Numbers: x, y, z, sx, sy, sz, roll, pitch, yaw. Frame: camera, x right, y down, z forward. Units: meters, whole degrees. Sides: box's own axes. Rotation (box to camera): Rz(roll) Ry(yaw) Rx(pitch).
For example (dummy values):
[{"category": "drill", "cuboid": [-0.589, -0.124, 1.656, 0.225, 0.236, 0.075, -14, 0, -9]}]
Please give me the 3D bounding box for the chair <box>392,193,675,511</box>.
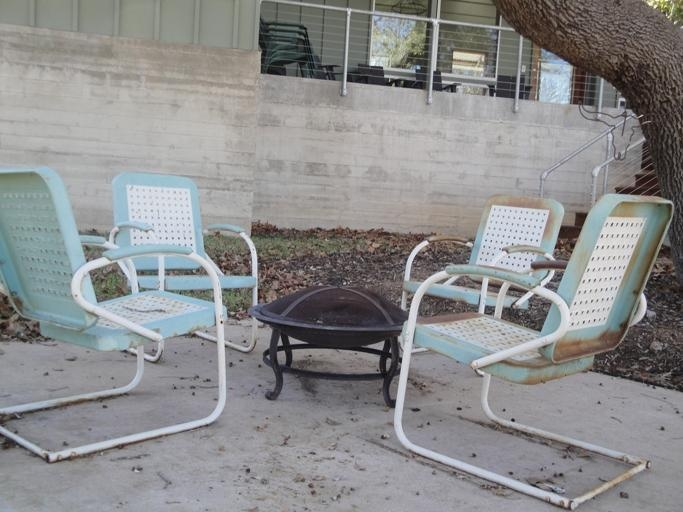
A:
[{"category": "chair", "cuboid": [1.257, 0.310, 5.006, 1.835, 1.983, 1.577, 7, 7, 43]}]
